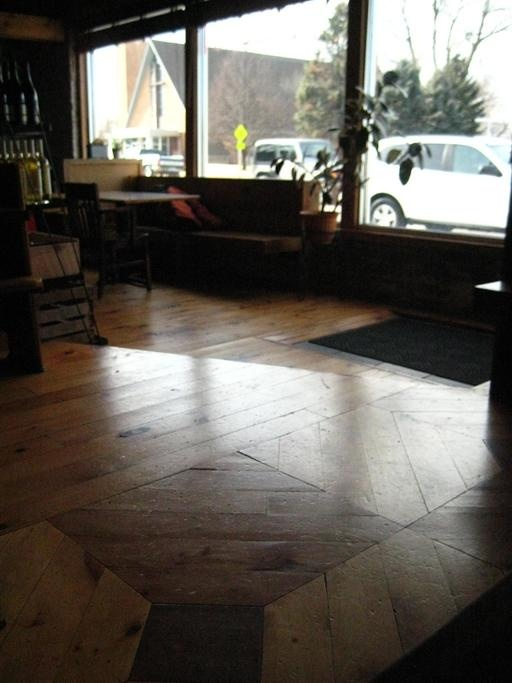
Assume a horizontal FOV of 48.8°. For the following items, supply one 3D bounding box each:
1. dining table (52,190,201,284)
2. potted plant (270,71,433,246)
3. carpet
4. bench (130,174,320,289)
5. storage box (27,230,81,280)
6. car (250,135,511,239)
[{"bbox_3d":[-1.188,-0.984,5.376,0.817,1.019,1.335,-6,11,-23],"label":"dining table"},{"bbox_3d":[0.554,-1.742,5.038,1.197,1.782,1.247,22,33,37],"label":"potted plant"},{"bbox_3d":[1.130,0.016,3.592,1.145,0.042,1.228,14,19,43],"label":"carpet"},{"bbox_3d":[-0.558,-1.095,5.759,2.187,1.138,0.652,13,20,36],"label":"bench"},{"bbox_3d":[-1.158,-0.483,3.184,0.304,0.231,0.306,-7,22,-34],"label":"storage box"},{"bbox_3d":[1.054,-1.264,4.880,2.055,0.701,0.933,5,16,27],"label":"car"}]
